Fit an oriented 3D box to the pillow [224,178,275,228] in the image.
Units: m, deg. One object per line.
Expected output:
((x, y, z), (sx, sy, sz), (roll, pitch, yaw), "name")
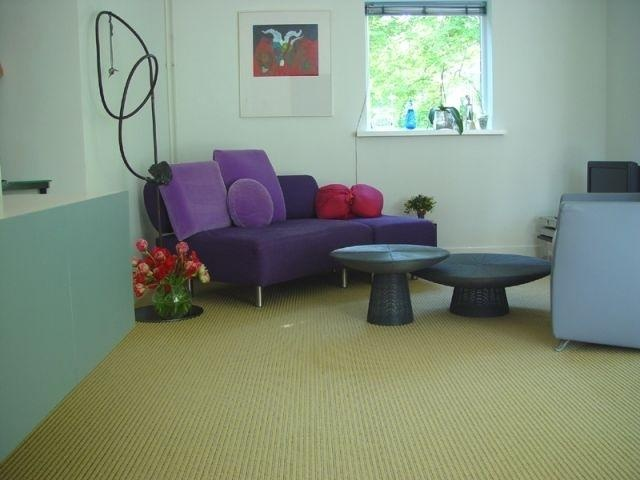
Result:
((-0.564, -0.293, 3.741), (0.177, 0.373, 0.394), (-25, -19, 37), "pillow")

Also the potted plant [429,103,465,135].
((1.263, -1.217, 4.697), (0.346, 0.285, 0.206), (2, 11, 15), "potted plant")

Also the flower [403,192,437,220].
((0.987, -0.325, 4.620), (0.286, 0.295, 0.283), (1, 1, 6), "flower")

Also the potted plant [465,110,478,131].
((1.544, -1.236, 4.745), (0.152, 0.229, 0.175), (-2, 10, -1), "potted plant")

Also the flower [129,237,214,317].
((-0.933, 0.277, 3.067), (0.427, 0.459, 0.393), (-17, -2, -9), "flower")

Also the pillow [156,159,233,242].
((-0.940, -0.328, 3.544), (0.183, 0.560, 0.567), (-26, -10, 34), "pillow")

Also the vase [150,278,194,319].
((-0.978, 0.391, 3.095), (0.283, 0.277, 0.280), (0, 8, -16), "vase")

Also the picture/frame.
((-0.379, -1.797, 4.582), (1.018, 1.087, 0.057), (-1, 3, 1), "picture/frame")
